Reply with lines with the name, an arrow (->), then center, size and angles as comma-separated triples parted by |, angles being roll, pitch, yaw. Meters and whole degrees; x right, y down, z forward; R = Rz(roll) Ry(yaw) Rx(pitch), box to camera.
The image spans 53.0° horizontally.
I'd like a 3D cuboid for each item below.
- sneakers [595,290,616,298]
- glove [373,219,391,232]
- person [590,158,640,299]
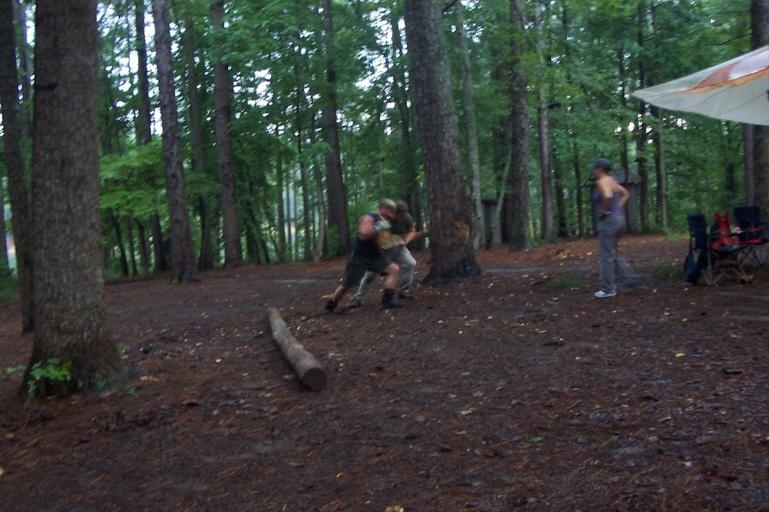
sneakers -> 4.319, 0.750, 15.153 | 0.361, 0.150, 0.166 | 3, 2, 14
glove -> -0.042, -0.609, 15.454 | 0.235, 0.230, 0.236 | -2, -1, -9
person -> 4.411, -0.561, 15.147 | 0.794, 2.697, 0.684 | -5, 7, 3
